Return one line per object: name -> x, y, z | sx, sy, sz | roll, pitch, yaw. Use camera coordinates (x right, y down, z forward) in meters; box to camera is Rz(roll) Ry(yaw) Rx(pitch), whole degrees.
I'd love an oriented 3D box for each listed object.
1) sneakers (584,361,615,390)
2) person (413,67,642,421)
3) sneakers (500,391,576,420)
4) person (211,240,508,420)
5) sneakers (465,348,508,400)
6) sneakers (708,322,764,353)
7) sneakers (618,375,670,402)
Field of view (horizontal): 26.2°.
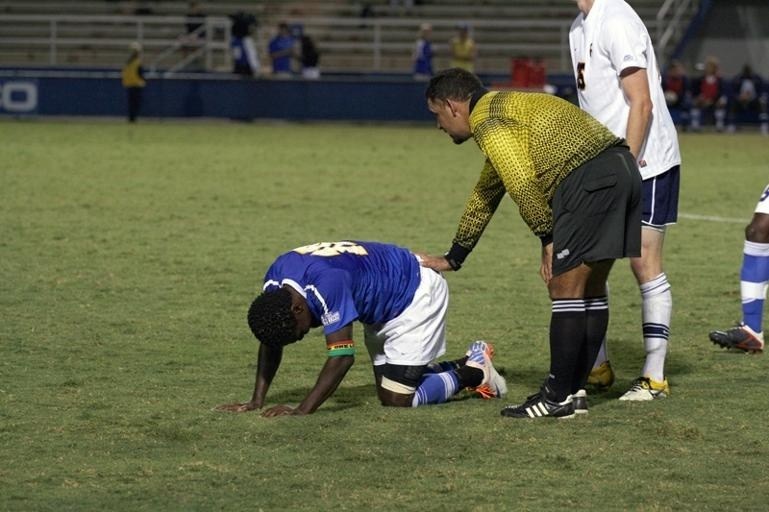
sneakers -> 1.488, 0.837, 11.432 | 0.126, 0.170, 0.264 | 12, 22, 40
person -> 1.019, -0.077, 11.022 | 1.348, 2.300, 0.567 | 3, 7, 7
sneakers -> 1.037, 1.013, 11.089 | 0.533, 0.193, 0.187 | 1, -7, 2
person -> -0.114, 0.518, 11.313 | 2.000, 1.119, 0.973 | -2, 2, -30
sneakers -> 0.710, 0.824, 11.344 | 0.365, 0.209, 0.144 | 34, -34, -31
sneakers -> 2.556, 0.607, 12.041 | 0.364, 0.194, 0.192 | 12, -2, 3
sneakers -> 1.766, 0.911, 11.238 | 0.346, 0.131, 0.144 | -3, -4, -14
